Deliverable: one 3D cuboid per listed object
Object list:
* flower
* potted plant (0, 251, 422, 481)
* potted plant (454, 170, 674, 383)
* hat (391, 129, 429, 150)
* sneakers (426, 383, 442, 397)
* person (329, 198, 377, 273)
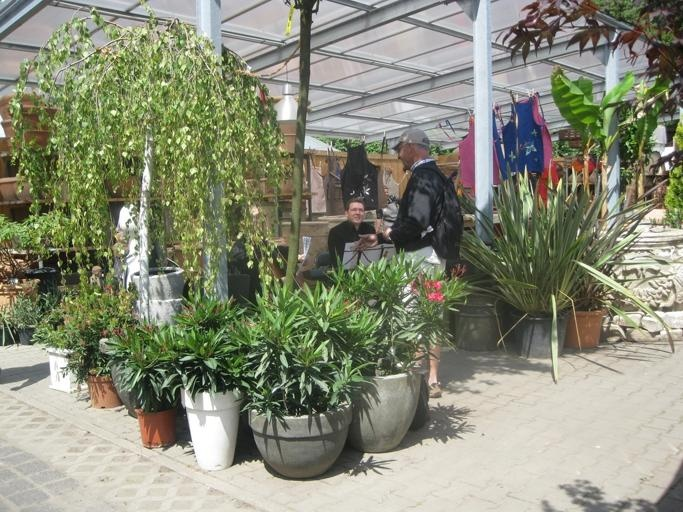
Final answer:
[{"bbox_3d":[0.764,0.408,5.143,0.743,0.627,0.811,-7,-2,12],"label":"flower"},{"bbox_3d":[-0.488,0.826,4.503,2.135,1.477,0.922,0,9,9],"label":"potted plant"},{"bbox_3d":[2.403,-0.047,6.812,2.149,1.477,2.208,-13,17,-22],"label":"potted plant"},{"bbox_3d":[0.685,-1.142,5.659,0.254,0.176,0.204,7,14,22],"label":"hat"},{"bbox_3d":[0.863,1.253,5.456,0.076,0.105,0.243,0,-4,-13],"label":"sneakers"},{"bbox_3d":[0.138,-0.136,6.450,0.453,1.019,0.473,-11,24,-25],"label":"person"}]
